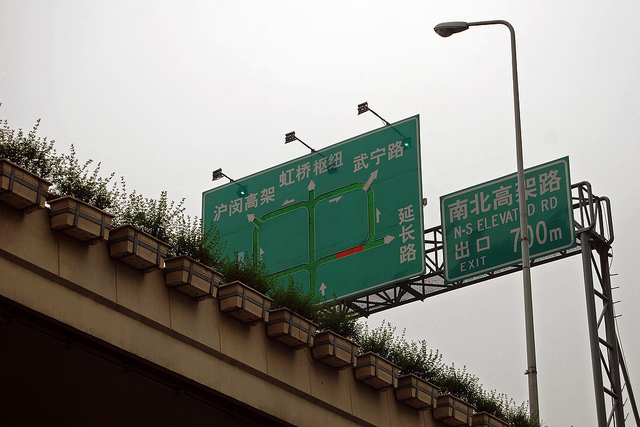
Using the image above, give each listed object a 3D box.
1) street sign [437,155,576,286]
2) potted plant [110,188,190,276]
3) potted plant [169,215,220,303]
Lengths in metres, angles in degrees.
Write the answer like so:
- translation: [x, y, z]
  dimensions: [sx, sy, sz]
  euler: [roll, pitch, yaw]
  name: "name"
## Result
- translation: [4.703, 0.342, 28.942]
  dimensions: [2.825, 2.190, 0.043]
  euler: [-15, -29, 24]
  name: "street sign"
- translation: [-2.832, 0.424, 19.161]
  dimensions: [0.675, 1.092, 0.903]
  euler: [-14, -40, 37]
  name: "potted plant"
- translation: [-2.202, 0.896, 20.731]
  dimensions: [0.489, 1.320, 0.908]
  euler: [-25, -51, 25]
  name: "potted plant"
